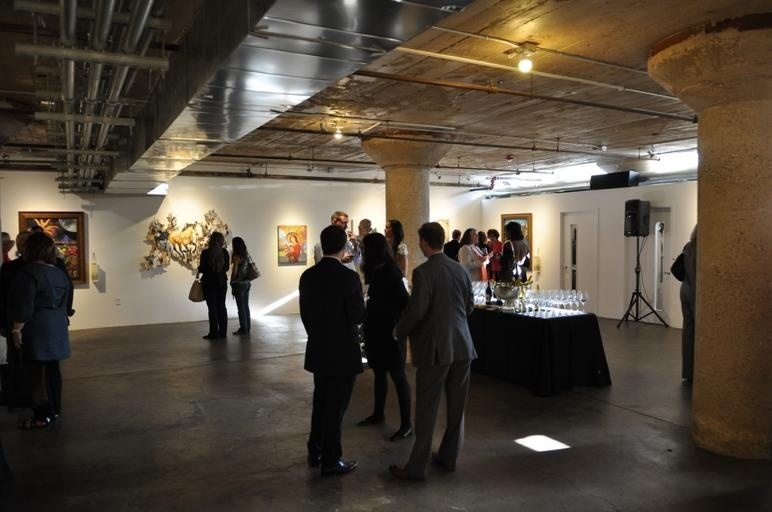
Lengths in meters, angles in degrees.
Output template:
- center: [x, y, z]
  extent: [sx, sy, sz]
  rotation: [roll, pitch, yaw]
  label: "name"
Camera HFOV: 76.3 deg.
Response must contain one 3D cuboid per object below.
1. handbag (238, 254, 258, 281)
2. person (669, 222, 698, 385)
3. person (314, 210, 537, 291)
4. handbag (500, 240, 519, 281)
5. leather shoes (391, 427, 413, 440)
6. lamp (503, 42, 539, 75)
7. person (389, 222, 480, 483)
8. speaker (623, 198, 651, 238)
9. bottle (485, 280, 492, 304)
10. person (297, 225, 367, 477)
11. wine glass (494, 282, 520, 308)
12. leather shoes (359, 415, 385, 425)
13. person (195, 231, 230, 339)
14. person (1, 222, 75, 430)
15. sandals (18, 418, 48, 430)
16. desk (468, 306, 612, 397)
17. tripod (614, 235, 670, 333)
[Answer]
- center: [-3.128, 0.312, 11.162]
  extent: [0.380, 0.582, 0.205]
  rotation: [-2, 4, -15]
  label: "handbag"
- center: [4.583, 0.758, 7.596]
  extent: [0.313, 2.257, 1.067]
  rotation: [2, 5, 30]
  label: "person"
- center: [0.666, -0.106, 8.098]
  extent: [2.516, 1.058, 1.309]
  rotation: [0, -2, -16]
  label: "person"
- center: [2.094, 0.095, 8.445]
  extent: [0.291, 0.655, 0.594]
  rotation: [1, 4, 14]
  label: "handbag"
- center: [0.179, 2.023, 5.595]
  extent: [0.282, 0.111, 0.099]
  rotation: [-5, -22, -28]
  label: "leather shoes"
- center: [1.761, -2.602, 6.371]
  extent: [0.364, 0.293, 0.386]
  rotation: [22, 28, 33]
  label: "lamp"
- center: [0.497, 0.920, 4.813]
  extent: [0.571, 2.479, 0.684]
  rotation: [3, 6, 41]
  label: "person"
- center: [6.385, -0.942, 12.461]
  extent: [0.536, 0.904, 0.360]
  rotation: [1, 4, 19]
  label: "speaker"
- center: [1.696, 0.611, 8.090]
  extent: [0.109, 0.349, 0.404]
  rotation: [0, 4, 11]
  label: "bottle"
- center: [-0.521, 0.948, 4.773]
  extent: [0.655, 2.456, 0.427]
  rotation: [0, 4, 5]
  label: "person"
- center: [1.865, 0.632, 7.679]
  extent: [0.362, 0.302, 0.383]
  rotation: [0, 0, -36]
  label: "wine glass"
- center: [-0.173, 1.998, 5.996]
  extent: [0.363, 0.147, 0.110]
  rotation: [4, 7, -8]
  label: "leather shoes"
- center: [-3.764, 0.662, 10.769]
  extent: [0.602, 2.333, 0.504]
  rotation: [-2, 4, -21]
  label: "person"
- center: [-4.168, 0.897, 5.923]
  extent: [0.571, 2.361, 0.637]
  rotation: [-2, 4, -18]
  label: "person"
- center: [-4.254, 2.043, 5.938]
  extent: [0.373, 0.153, 0.123]
  rotation: [-1, -2, -2]
  label: "sandals"
- center: [1.903, 1.325, 7.801]
  extent: [2.201, 0.970, 1.695]
  rotation: [10, -1, 32]
  label: "desk"
- center: [6.512, 0.628, 12.383]
  extent: [1.042, 2.180, 1.036]
  rotation: [2, 5, 27]
  label: "tripod"
